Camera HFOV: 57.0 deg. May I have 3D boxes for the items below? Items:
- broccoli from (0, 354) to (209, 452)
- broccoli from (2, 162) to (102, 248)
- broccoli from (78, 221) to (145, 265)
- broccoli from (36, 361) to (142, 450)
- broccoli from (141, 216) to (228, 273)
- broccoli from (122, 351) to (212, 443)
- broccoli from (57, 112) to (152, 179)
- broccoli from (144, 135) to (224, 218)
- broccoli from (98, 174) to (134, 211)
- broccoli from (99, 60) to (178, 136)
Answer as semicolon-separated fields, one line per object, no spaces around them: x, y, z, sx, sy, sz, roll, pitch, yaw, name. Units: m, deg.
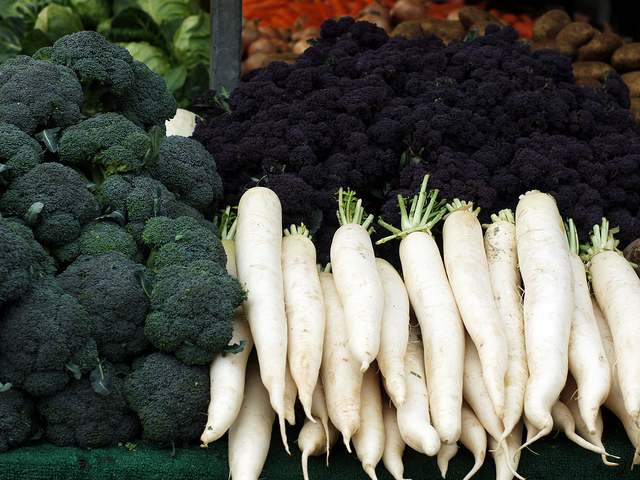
-0.958;0.728;2.732;0.687;0.276;0.456;0;-6;-24;broccoli
-1.307;-0.192;2.877;0.416;0.415;0.138;9;-35;-20;broccoli
-1.047;-0.005;2.953;0.252;0.075;0.185;22;21;-20;broccoli
-1.070;0.779;2.695;0.368;0.363;0.117;-22;-18;-24;broccoli
-0.704;0.006;3.016;0.310;0.247;0.310;28;5;-32;broccoli
-0.690;0.734;2.675;0.381;0.401;0.190;6;-32;-8;broccoli
-1.136;-0.507;3.103;0.390;0.316;0.376;1;10;-9;broccoli
-0.779;-0.397;3.462;0.218;0.440;0.363;-30;-36;2;broccoli
-1.054;-0.241;3.044;0.163;0.174;0.095;-22;-27;-17;broccoli
-1.084;-0.821;3.637;0.474;0.524;0.284;-2;-6;14;broccoli
